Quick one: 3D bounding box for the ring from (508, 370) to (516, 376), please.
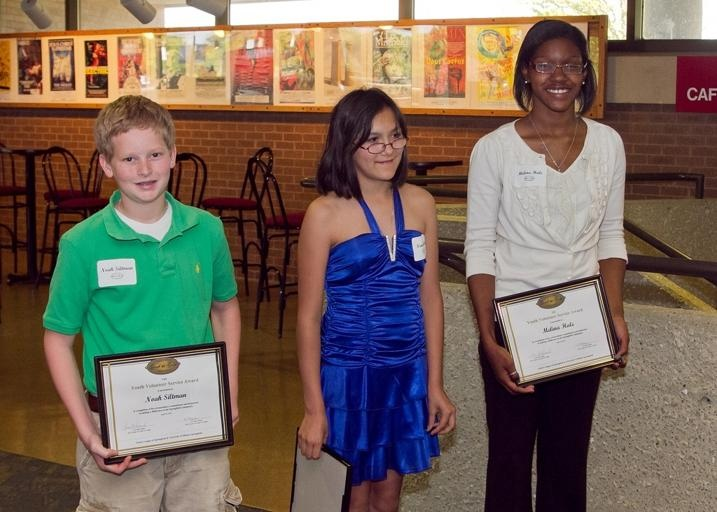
[{"bbox_3d":[0.439,0.331,1.637,0.015,0.022,0.011,-5,-11,6],"label":"ring"}]

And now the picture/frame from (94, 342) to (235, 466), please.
[{"bbox_3d":[-0.487,0.366,1.468,0.342,0.276,0.335,4,30,-27],"label":"picture/frame"}]
